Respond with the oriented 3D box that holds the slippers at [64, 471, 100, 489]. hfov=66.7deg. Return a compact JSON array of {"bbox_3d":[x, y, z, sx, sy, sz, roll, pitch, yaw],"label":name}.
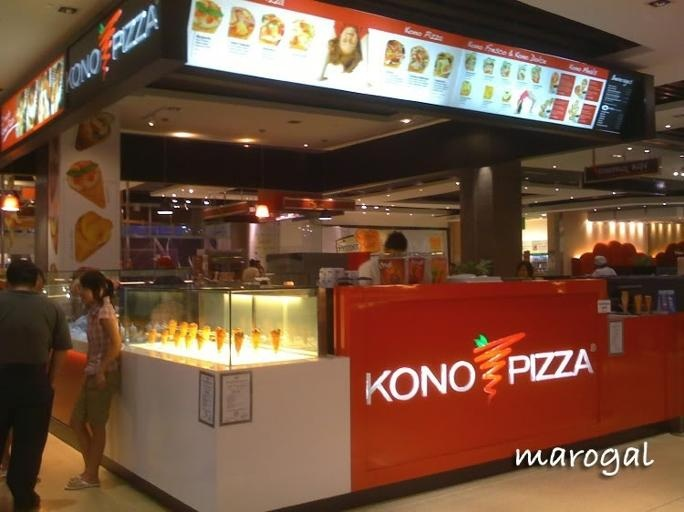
[{"bbox_3d":[-2.112,1.837,4.267,0.255,0.113,0.112,5,-7,-14],"label":"slippers"}]
